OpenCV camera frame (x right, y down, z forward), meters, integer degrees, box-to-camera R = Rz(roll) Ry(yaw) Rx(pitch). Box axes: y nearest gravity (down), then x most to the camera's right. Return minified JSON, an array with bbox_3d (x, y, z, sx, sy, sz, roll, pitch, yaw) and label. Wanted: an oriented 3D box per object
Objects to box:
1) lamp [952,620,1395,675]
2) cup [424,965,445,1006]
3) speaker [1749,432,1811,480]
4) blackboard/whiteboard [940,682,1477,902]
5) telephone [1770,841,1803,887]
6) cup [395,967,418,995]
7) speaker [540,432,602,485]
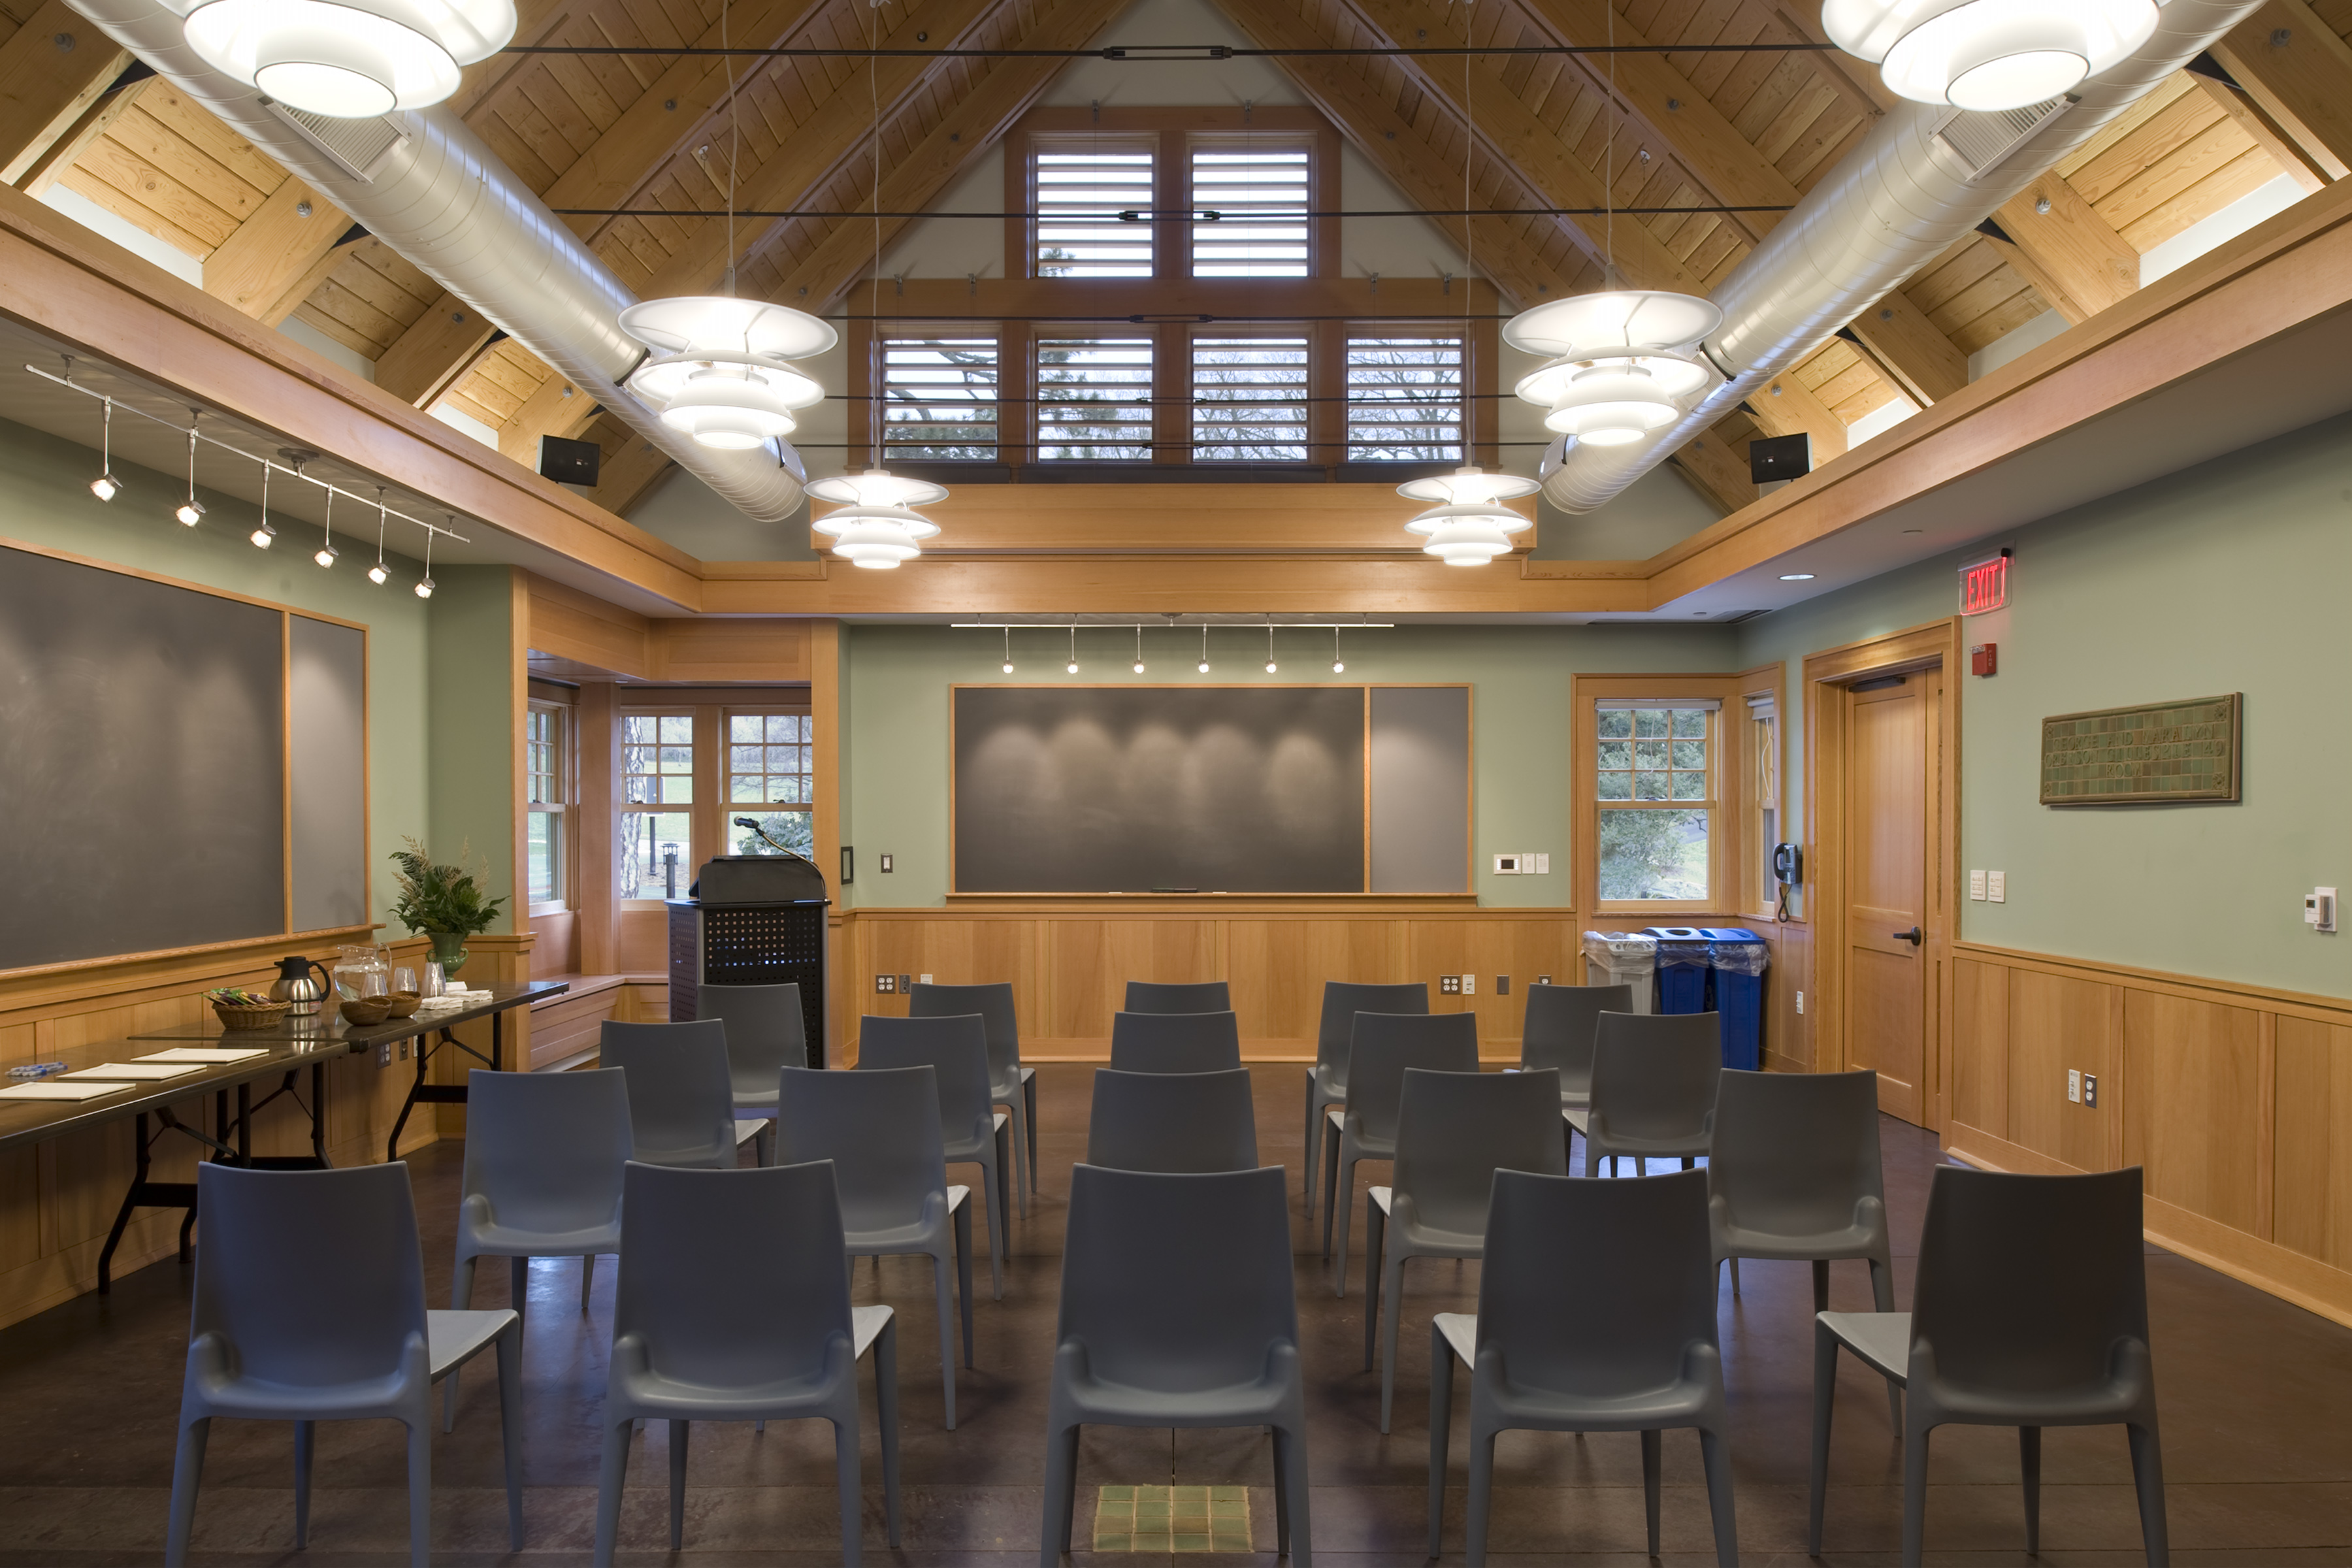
[{"bbox_3d":[-0.043,-0.926,11.337,2.844,0.361,0.433,0,-2,-1],"label":"lamp"},{"bbox_3d":[-3.734,1.010,8.285,0.128,0.219,0.134,0,-8,0],"label":"cup"},{"bbox_3d":[3.430,-1.840,9.362,0.288,0.307,0.265,-1,-2,18],"label":"speaker"},{"bbox_3d":[0.262,0.066,11.478,3.543,1.431,0.099,0,-1,1],"label":"blackboard/whiteboard"},{"bbox_3d":[3.981,0.538,10.678,0.188,0.371,0.266,2,-4,1],"label":"telephone"},{"bbox_3d":[-3.821,0.985,8.153,0.130,0.154,0.131,0,-5,0],"label":"cup"},{"bbox_3d":[-3.459,-1.814,9.291,0.384,0.372,0.094,1,8,-37],"label":"speaker"}]
